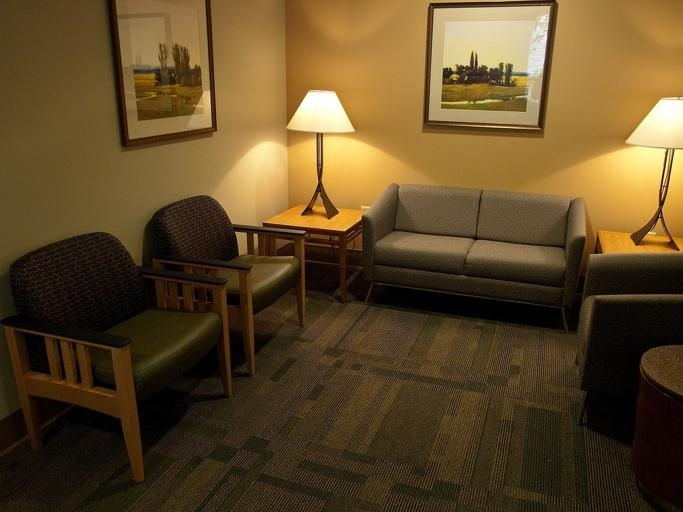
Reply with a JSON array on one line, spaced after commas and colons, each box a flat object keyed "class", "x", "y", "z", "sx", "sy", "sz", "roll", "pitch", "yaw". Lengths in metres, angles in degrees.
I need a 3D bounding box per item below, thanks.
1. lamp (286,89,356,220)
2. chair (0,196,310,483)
[{"class": "lamp", "x": -0.159, "y": -0.912, "z": 4.348, "sx": 0.547, "sy": 1.040, "sz": 0.602, "roll": 0, "pitch": 19, "yaw": 7}, {"class": "chair", "x": -1.058, "y": 0.479, "z": 2.695, "sx": 0.518, "sy": 0.689, "sz": 1.241, "roll": 5, "pitch": 16, "yaw": 15}]
